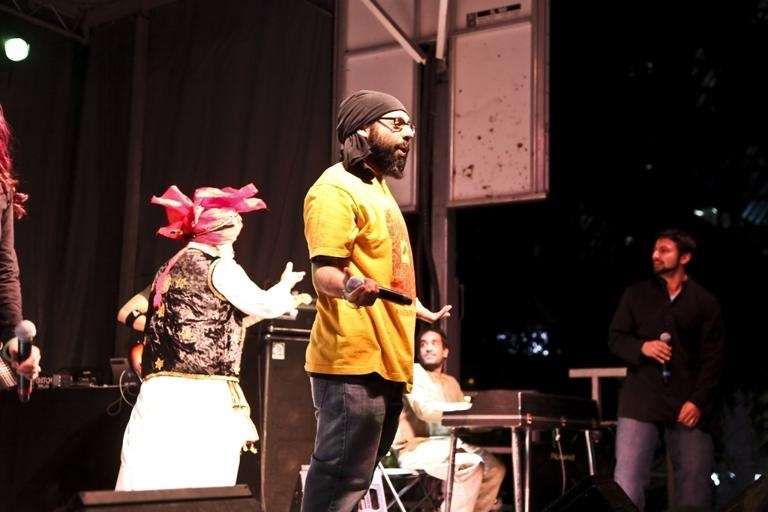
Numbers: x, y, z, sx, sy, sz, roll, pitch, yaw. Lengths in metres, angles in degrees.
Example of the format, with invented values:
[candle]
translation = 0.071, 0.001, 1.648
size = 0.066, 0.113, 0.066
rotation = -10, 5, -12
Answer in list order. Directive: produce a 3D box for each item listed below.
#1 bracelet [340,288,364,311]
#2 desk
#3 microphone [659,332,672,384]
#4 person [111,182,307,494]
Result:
[bracelet]
translation = -0.168, 0.212, 4.250
size = 0.044, 0.092, 0.121
rotation = -19, 47, -22
[desk]
translation = 1.002, 1.758, 6.232
size = 0.766, 0.916, 1.261
rotation = -4, -10, 29
[microphone]
translation = 2.106, 0.751, 6.142
size = 0.100, 0.354, 0.058
rotation = 1, -4, -18
[person]
translation = -1.155, 0.472, 5.263
size = 1.066, 1.966, 1.044
rotation = 0, -4, -2
